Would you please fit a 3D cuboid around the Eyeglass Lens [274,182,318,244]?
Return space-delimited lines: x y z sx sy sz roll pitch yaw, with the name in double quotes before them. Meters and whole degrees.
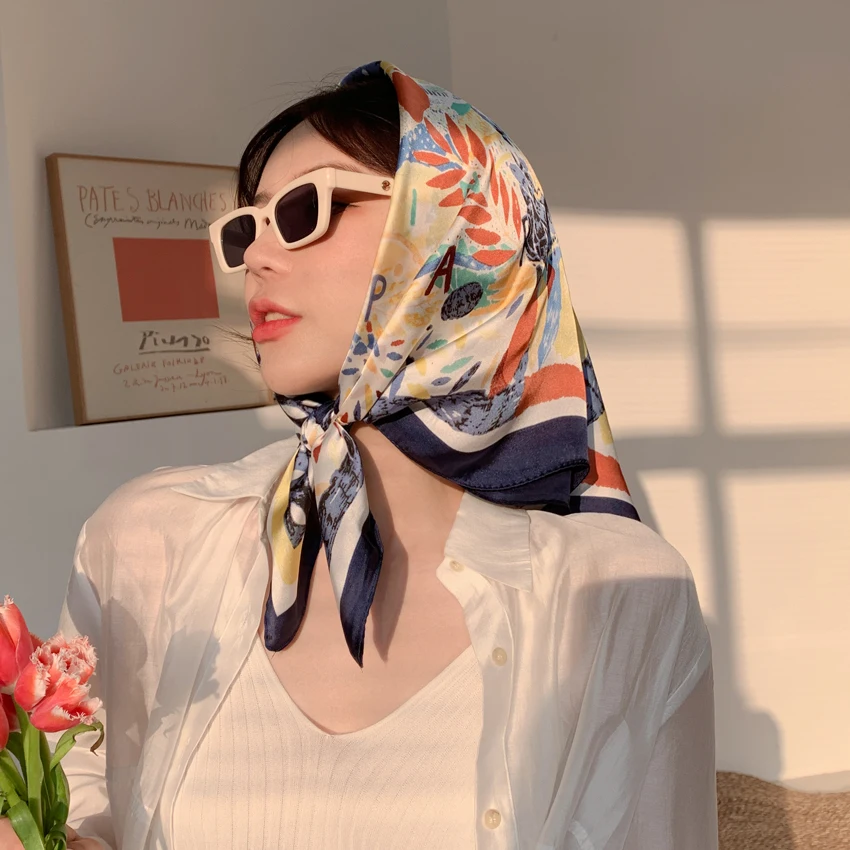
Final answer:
"Eyeglass Lens" -0.141 -0.228 1.018 0.059 0.069 0.023 7 13 35
